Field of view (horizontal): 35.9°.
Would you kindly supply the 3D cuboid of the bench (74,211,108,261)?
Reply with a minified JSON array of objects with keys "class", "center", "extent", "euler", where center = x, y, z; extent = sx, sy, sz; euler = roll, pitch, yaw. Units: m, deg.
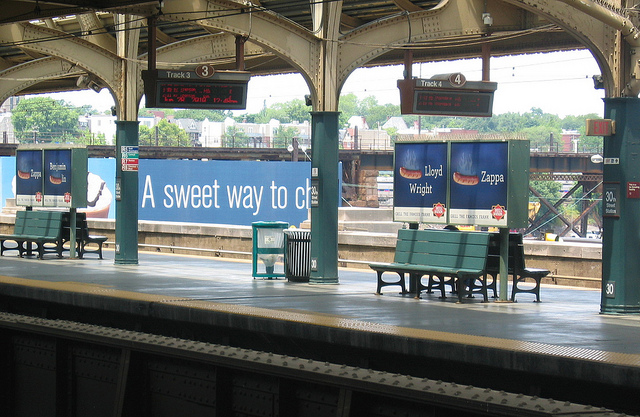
[{"class":"bench","center":[-6.504,1.069,28.866],"extent":[0.891,1.321,1.774],"euler":[2,-19,-3]}]

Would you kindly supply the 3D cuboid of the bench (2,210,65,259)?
[{"class":"bench","center":[-8.103,0.720,28.251],"extent":[1.112,1.273,2.215],"euler":[-2,3,-41]}]

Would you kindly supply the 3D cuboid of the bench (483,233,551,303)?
[{"class":"bench","center":[4.295,1.341,21.557],"extent":[0.600,0.950,1.380],"euler":[0,1,-19]}]

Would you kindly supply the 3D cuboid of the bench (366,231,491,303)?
[{"class":"bench","center":[2.436,1.159,21.436],"extent":[3.192,1.434,2.268],"euler":[1,2,34]}]

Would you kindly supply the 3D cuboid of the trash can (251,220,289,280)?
[{"class":"trash can","center":[-1.249,1.002,24.154],"extent":[0.775,1.404,0.901],"euler":[1,-1,-21]}]
